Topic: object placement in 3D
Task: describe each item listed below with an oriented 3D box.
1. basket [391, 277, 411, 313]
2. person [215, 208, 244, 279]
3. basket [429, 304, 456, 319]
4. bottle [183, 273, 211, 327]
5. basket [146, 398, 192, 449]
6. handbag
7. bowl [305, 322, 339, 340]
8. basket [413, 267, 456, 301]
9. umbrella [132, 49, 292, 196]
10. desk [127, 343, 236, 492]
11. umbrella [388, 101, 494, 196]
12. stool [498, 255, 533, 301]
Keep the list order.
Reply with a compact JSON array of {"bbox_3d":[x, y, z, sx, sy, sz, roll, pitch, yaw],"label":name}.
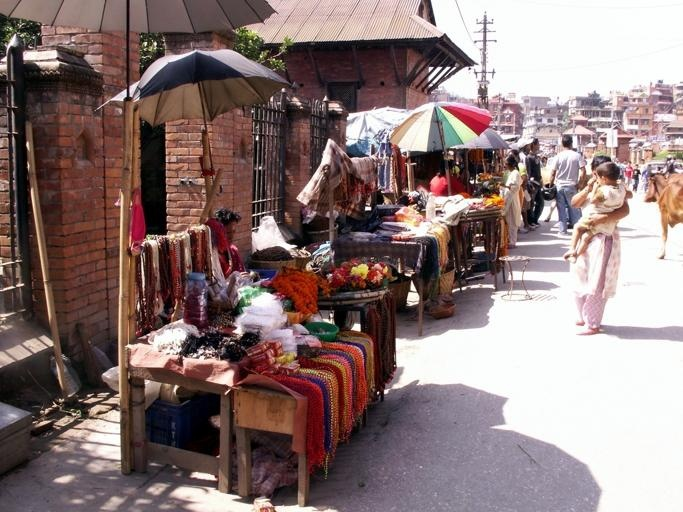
[{"bbox_3d":[0.819,0.536,8.642,0.415,0.405,0.493,-1,4,-1],"label":"basket"},{"bbox_3d":[-1.059,-0.158,5.906,0.233,0.583,0.833,-3,10,-11],"label":"person"},{"bbox_3d":[1.385,0.751,8.526,0.259,0.111,0.182,-12,8,-13],"label":"basket"},{"bbox_3d":[-1.182,0.354,5.078,0.190,0.460,0.172,-5,10,-23],"label":"bottle"},{"bbox_3d":[-1.369,1.295,5.097,0.373,0.403,0.316,1,1,32],"label":"basket"},{"bbox_3d":[-0.551,1.598,4.809,0.333,0.156,0.444,1,2,14],"label":"handbag"},{"bbox_3d":[-0.157,0.650,5.445,0.175,0.082,0.185,3,13,-1],"label":"bowl"},{"bbox_3d":[1.362,0.432,8.838,0.463,0.394,0.552,-2,0,12],"label":"basket"},{"bbox_3d":[-1.290,-1.210,5.724,1.156,1.098,1.189,-15,3,-30],"label":"umbrella"},{"bbox_3d":[-1.118,1.186,5.108,1.020,1.059,0.958,3,-1,21],"label":"desk"},{"bbox_3d":[1.632,-1.818,10.344,1.160,1.372,1.214,-7,-16,-2],"label":"umbrella"},{"bbox_3d":[2.910,0.237,10.371,0.489,0.619,0.570,-7,50,9],"label":"stool"}]
